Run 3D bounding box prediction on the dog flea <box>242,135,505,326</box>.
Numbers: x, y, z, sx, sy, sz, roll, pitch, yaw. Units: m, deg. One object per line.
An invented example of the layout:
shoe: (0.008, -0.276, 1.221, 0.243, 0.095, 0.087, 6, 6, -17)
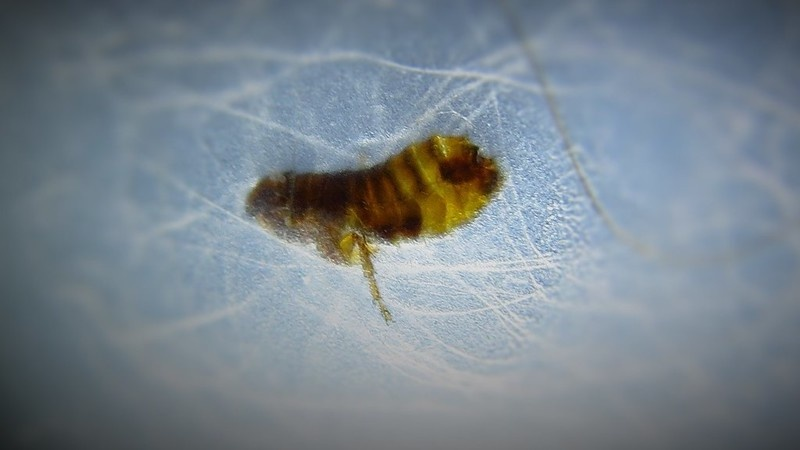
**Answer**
dog flea: (-0.024, -0.041, 2.074, 0.459, 0.631, 0.271, -30, 80, 20)
